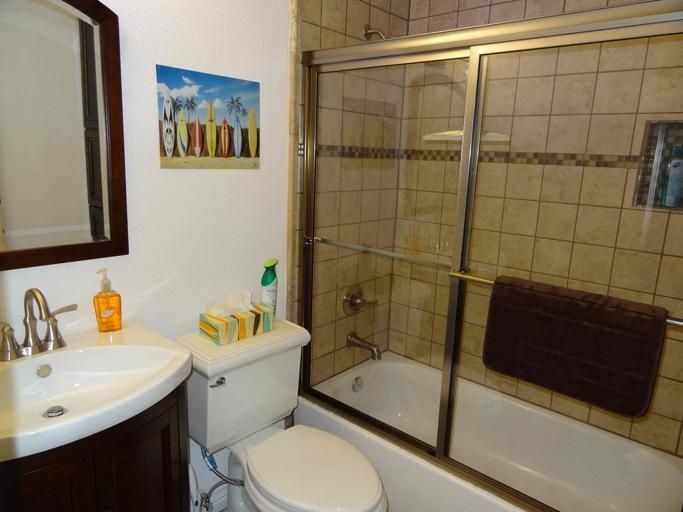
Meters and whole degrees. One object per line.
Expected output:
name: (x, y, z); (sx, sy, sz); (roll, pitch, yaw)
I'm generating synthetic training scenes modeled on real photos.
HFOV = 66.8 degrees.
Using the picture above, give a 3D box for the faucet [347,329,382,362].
faucet: (0.100, 0.423, 2.506); (0.085, 0.097, 0.183); (-7, 20, -43)

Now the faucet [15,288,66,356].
faucet: (-1.029, 0.239, 1.801); (0.135, 0.234, 0.123); (18, 16, 22)

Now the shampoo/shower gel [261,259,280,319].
shampoo/shower gel: (-0.343, 0.156, 2.420); (0.077, 0.302, 0.078); (-4, 29, -17)

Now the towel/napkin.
towel/napkin: (0.868, 0.309, 1.882); (0.643, 0.499, 0.101); (9, 11, 38)

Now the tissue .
tissue : (-0.451, 0.262, 2.232); (0.275, 0.167, 0.194); (-11, 19, -44)

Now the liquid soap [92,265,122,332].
liquid soap: (-0.891, 0.164, 1.969); (0.090, 0.244, 0.097); (-6, -1, 23)
